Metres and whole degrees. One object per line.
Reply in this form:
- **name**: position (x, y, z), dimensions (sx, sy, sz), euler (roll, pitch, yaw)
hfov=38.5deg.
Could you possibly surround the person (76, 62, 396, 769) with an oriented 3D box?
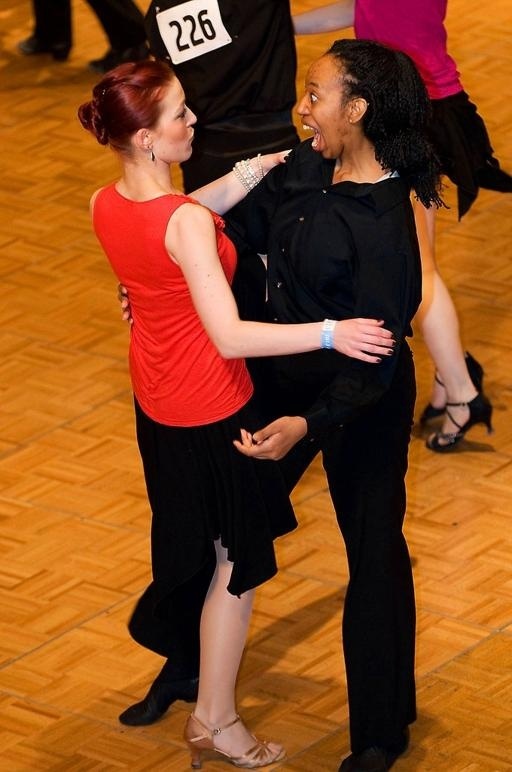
- **person**: position (-0.058, 0.157, 1.434), dimensions (0.559, 1.461, 0.441), euler (-15, 30, -10)

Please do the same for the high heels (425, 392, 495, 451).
- **high heels**: position (0.812, 0.158, 2.944), dimensions (0.327, 0.172, 0.169), euler (-26, 31, 48)

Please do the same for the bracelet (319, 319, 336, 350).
- **bracelet**: position (0.120, -0.085, 1.182), dimensions (0.039, 0.035, 0.010), euler (5, 1, 41)

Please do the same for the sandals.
- **sandals**: position (-0.053, 0.768, 1.673), dimensions (0.274, 0.129, 0.104), euler (-2, 27, -6)
